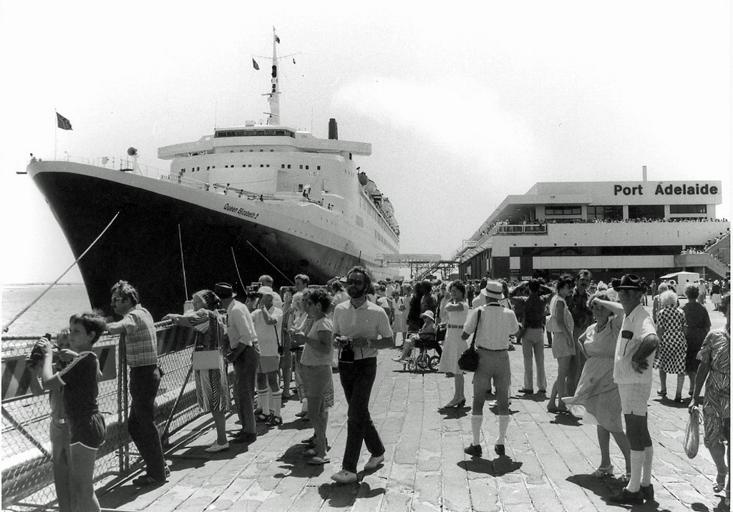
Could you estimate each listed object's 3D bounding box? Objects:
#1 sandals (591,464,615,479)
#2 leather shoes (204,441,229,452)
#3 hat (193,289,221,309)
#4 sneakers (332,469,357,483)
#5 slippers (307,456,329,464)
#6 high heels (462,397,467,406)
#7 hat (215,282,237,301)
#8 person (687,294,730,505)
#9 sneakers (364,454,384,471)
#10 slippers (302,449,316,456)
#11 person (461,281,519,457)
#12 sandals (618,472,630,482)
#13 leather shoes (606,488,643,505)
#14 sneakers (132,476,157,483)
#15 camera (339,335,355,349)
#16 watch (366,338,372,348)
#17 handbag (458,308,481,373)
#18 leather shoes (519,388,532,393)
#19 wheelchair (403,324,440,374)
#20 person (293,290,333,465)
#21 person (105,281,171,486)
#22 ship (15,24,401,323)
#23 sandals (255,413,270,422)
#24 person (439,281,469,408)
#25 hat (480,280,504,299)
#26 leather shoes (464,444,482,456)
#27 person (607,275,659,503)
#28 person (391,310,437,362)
[{"bbox_3d":[2.823,2.714,7.728,0.212,0.099,0.135,-3,0,8],"label":"sandals"},{"bbox_3d":[-2.065,2.653,8.606,0.317,0.138,0.122,-3,-7,-3],"label":"leather shoes"},{"bbox_3d":[-2.289,0.669,8.854,0.230,0.276,0.327,2,-27,45],"label":"hat"},{"bbox_3d":[-0.308,2.719,7.630,0.310,0.132,0.127,11,-12,-13],"label":"sneakers"},{"bbox_3d":[-0.655,2.719,8.189,0.219,0.062,0.105,3,-11,-6],"label":"slippers"},{"bbox_3d":[1.548,2.534,10.654,0.105,0.123,0.106,0,5,1],"label":"high heels"},{"bbox_3d":[-1.982,0.578,8.930,0.333,0.123,0.260,15,11,-22],"label":"hat"},{"bbox_3d":[3.960,1.882,7.337,0.337,2.092,0.546,-1,3,-27],"label":"person"},{"bbox_3d":[0.056,2.694,8.029,0.108,0.137,0.329,-24,-13,30],"label":"sneakers"},{"bbox_3d":[-0.786,2.683,8.385,0.112,0.043,0.066,8,-5,11],"label":"slippers"},{"bbox_3d":[1.596,1.605,8.653,0.771,2.359,0.718,1,-11,-1],"label":"person"},{"bbox_3d":[3.027,2.743,7.636,0.143,0.061,0.053,-7,-8,36],"label":"sandals"},{"bbox_3d":[2.882,2.820,7.258,0.402,0.186,0.155,2,-10,10],"label":"leather shoes"},{"bbox_3d":[-2.716,2.776,7.674,0.262,0.092,0.083,1,3,-1],"label":"sneakers"},{"bbox_3d":[-0.311,1.123,7.825,0.221,0.144,0.103,1,3,-2],"label":"camera"},{"bbox_3d":[-0.024,1.120,7.836,0.081,0.114,0.039,4,6,13],"label":"watch"},{"bbox_3d":[1.329,1.192,8.510,0.270,0.873,0.297,1,3,13],"label":"handbag"},{"bbox_3d":[2.791,2.550,11.568,0.222,0.096,0.078,4,1,25],"label":"leather shoes"},{"bbox_3d":[1.116,2.128,13.946,0.965,1.370,1.011,1,-5,7],"label":"wheelchair"},{"bbox_3d":[-0.749,1.590,8.468,0.494,2.294,1.040,0,3,-6],"label":"person"},{"bbox_3d":[-2.790,1.591,7.745,0.677,2.477,0.492,0,3,-19],"label":"person"},{"bbox_3d":[-5.218,-1.810,35.374,7.635,12.212,29.955,-1,-2,19],"label":"ship"},{"bbox_3d":[-1.658,2.580,9.840,0.230,0.088,0.123,8,-14,2],"label":"sandals"},{"bbox_3d":[1.463,1.619,11.091,0.620,2.233,0.866,2,-6,-2],"label":"person"},{"bbox_3d":[1.663,0.513,8.621,0.273,0.147,0.271,26,32,2],"label":"hat"},{"bbox_3d":[1.337,2.639,8.377,0.114,0.109,0.227,-5,1,-29],"label":"leather shoes"},{"bbox_3d":[3.034,1.556,7.345,0.473,2.617,0.616,2,3,22],"label":"person"},{"bbox_3d":[1.099,1.849,13.614,0.380,1.235,1.275,0,3,-23],"label":"person"}]
